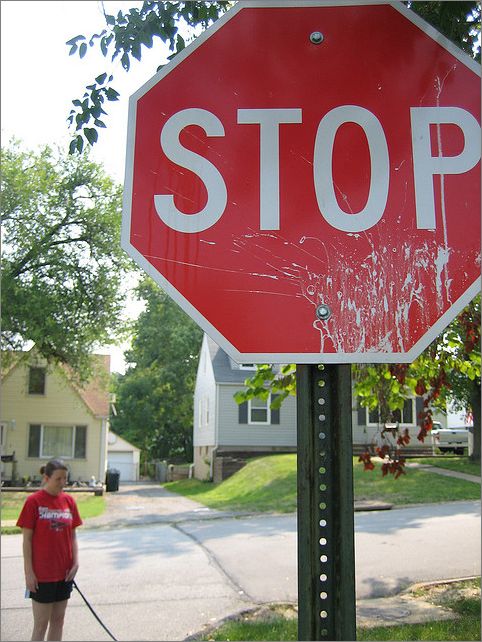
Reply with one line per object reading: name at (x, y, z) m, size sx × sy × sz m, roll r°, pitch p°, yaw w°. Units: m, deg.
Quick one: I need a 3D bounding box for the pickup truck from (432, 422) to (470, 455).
pickup truck at (9.816, 5.803, 29.845) m, size 1.385 × 1.550 × 3.093 m, roll -1°, pitch -4°, yaw 3°
